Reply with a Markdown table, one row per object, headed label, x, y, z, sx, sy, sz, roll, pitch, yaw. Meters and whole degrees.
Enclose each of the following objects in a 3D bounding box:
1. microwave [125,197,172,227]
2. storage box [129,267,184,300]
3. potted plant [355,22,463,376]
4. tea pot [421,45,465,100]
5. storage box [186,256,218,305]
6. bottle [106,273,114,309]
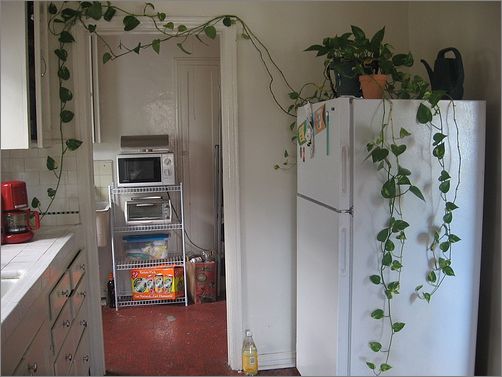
| label | x | y | z | sx | sy | sz | roll | pitch | yaw |
| --- | --- | --- | --- | --- | --- | --- | --- | --- | --- |
| microwave | -1.020 | 0.285 | 4.384 | 0.468 | 0.257 | 0.372 | -4 | -17 | 0 |
| storage box | -0.978 | 0.926 | 4.520 | 0.531 | 0.366 | 0.301 | -1 | 18 | -9 |
| potted plant | 0.885 | 0.055 | 2.458 | 0.567 | 1.934 | 0.414 | -2 | 8 | -8 |
| tea pot | 1.119 | -0.665 | 2.507 | 0.173 | 0.304 | 0.274 | -5 | 11 | -35 |
| storage box | -0.533 | 0.868 | 4.673 | 0.329 | 0.647 | 0.642 | 0 | 2 | -11 |
| bottle | -1.441 | 1.037 | 4.398 | 0.064 | 0.349 | 0.190 | -5 | 9 | -27 |
